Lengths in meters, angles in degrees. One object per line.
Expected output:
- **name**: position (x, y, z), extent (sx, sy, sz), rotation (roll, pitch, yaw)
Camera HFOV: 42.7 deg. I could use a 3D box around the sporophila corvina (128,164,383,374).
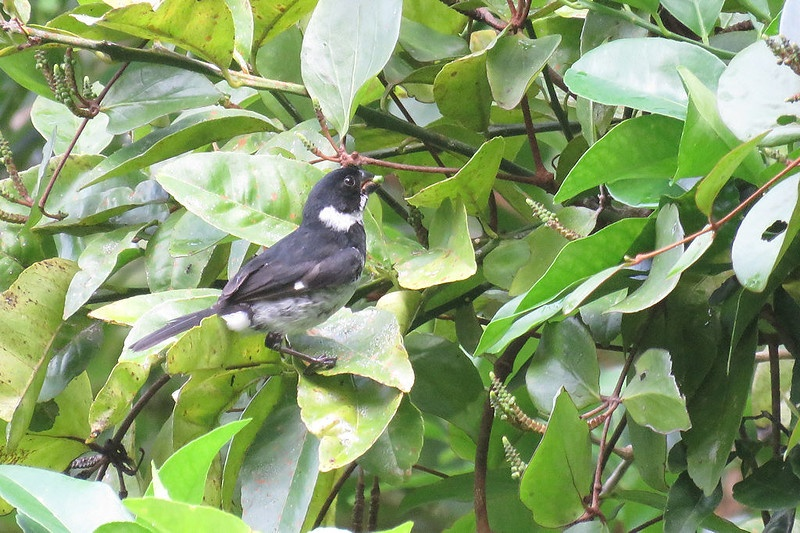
- **sporophila corvina**: position (-0.358, -0.029, 2.422), extent (0.630, 0.450, 0.292), rotation (-4, 11, -24)
